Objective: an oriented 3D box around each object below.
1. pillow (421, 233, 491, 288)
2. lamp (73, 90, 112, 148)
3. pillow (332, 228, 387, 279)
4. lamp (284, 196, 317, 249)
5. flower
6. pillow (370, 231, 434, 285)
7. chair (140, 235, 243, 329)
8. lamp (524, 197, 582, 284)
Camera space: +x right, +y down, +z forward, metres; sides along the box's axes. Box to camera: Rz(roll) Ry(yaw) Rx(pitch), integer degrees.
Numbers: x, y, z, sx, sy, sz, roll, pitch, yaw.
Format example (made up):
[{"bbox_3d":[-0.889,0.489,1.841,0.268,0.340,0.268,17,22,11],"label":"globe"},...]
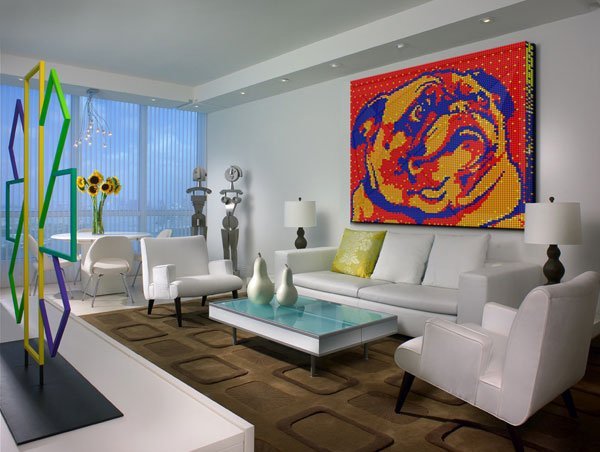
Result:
[{"bbox_3d":[1.620,0.343,4.400,0.182,0.590,0.615,28,-19,-36],"label":"pillow"},{"bbox_3d":[-3.614,-1.811,7.207,0.471,0.906,0.615,0,5,-1],"label":"lamp"},{"bbox_3d":[0.760,0.304,5.118,0.189,0.568,0.615,27,-9,-38],"label":"pillow"},{"bbox_3d":[0.008,-0.036,6.000,0.483,0.777,0.480,-1,0,-1],"label":"lamp"},{"bbox_3d":[-2.984,-0.314,6.172,0.634,0.735,0.580,7,9,-2],"label":"flower"},{"bbox_3d":[1.193,0.348,4.744,0.187,0.562,0.619,30,-15,-35],"label":"pillow"},{"bbox_3d":[-1.287,0.586,4.962,0.765,0.873,0.964,5,4,35],"label":"chair"},{"bbox_3d":[2.344,0.141,3.836,0.479,0.814,0.477,1,-2,2],"label":"lamp"}]
